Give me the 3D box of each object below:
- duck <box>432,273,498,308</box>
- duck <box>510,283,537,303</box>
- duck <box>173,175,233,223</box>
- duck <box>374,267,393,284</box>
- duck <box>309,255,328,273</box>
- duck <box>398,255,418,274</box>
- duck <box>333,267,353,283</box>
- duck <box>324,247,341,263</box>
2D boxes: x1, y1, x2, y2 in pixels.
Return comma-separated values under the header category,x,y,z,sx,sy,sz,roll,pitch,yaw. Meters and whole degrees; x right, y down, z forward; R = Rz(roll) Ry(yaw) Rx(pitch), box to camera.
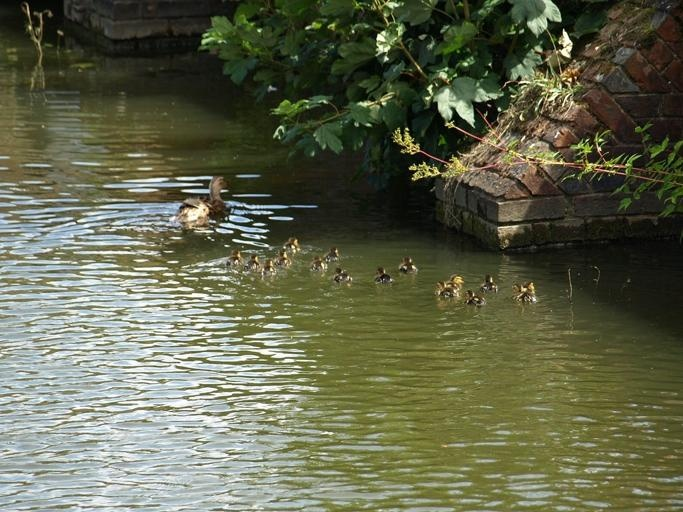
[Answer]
category,x,y,z,sx,sy,sz,roll,pitch,yaw
duck,1.416,0.412,12.126,0.608,0.194,0.311,19,37,29
duck,2.114,0.434,12.062,0.315,0.241,0.737,1,-1,10
duck,-1.944,-0.768,14.526,0.806,0.304,0.751,-21,15,-33
duck,0.506,0.226,12.555,0.209,0.081,0.217,-1,21,-8
duck,-0.273,0.081,12.946,0.199,0.122,0.219,-3,19,-5
duck,0.827,0.094,12.966,0.185,0.159,0.275,1,18,2
duck,0.007,0.240,12.515,0.186,0.080,0.222,-21,46,-29
duck,-0.113,-0.025,13.138,0.186,0.129,0.231,9,17,22
